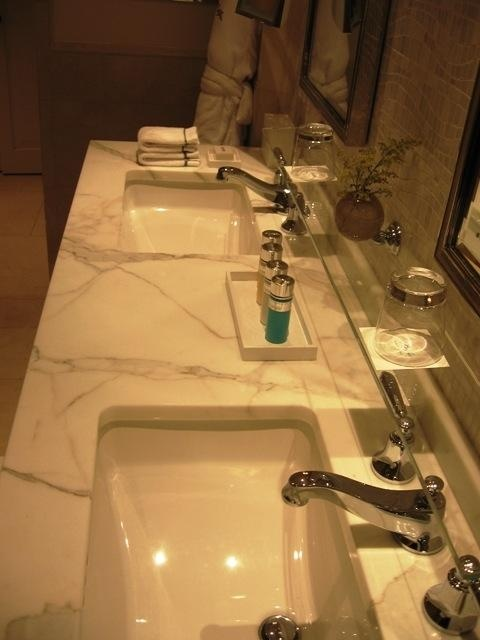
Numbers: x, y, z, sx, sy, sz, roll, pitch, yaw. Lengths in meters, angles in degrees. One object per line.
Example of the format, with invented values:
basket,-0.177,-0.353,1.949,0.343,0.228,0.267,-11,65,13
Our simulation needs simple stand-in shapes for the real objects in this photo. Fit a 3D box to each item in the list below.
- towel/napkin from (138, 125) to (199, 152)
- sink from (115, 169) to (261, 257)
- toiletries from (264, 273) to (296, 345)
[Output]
towel/napkin,-0.250,-0.641,1.601,0.128,0.050,0.145,2,40,-8
sink,-0.179,-0.337,1.486,0.305,0.179,0.488,0,34,-7
toiletries,0.071,-0.026,0.843,0.052,0.127,0.185,2,10,6
